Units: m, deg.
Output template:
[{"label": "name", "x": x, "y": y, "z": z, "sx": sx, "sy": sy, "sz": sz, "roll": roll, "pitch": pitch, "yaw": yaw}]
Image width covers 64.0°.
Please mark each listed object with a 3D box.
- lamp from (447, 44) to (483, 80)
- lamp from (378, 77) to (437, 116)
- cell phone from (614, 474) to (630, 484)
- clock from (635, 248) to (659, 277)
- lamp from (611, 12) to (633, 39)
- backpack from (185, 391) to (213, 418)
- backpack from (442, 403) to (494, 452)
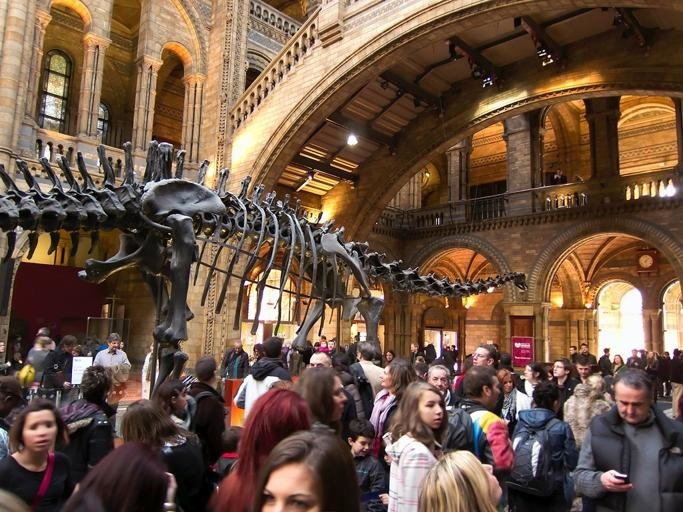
[{"label": "lamp", "x": 3.206, "y": -5.125, "z": 14.218, "sx": 1.322, "sy": 0.438, "sz": 0.305, "roll": 27, "pitch": -24, "yaw": -37}, {"label": "lamp", "x": 1.809, "y": -4.564, "z": 15.352, "sx": 2.391, "sy": 0.336, "sz": 0.358, "roll": 16, "pitch": 23, "yaw": -50}, {"label": "cell phone", "x": 1.914, "y": 1.518, "z": 3.715, "sx": 0.204, "sy": 0.067, "sz": 0.061, "roll": 17, "pitch": -19, "yaw": -42}, {"label": "clock", "x": 10.652, "y": 0.219, "z": 19.040, "sx": 0.862, "sy": 1.105, "sz": 0.601, "roll": -7, "pitch": -13, "yaw": 41}, {"label": "lamp", "x": 6.280, "y": -5.204, "z": 12.235, "sx": 0.290, "sy": 0.395, "sz": 0.995, "roll": -8, "pitch": -25, "yaw": 33}, {"label": "backpack", "x": -1.226, "y": 1.263, "z": 4.705, "sx": 0.208, "sy": 0.216, "sz": 0.154, "roll": -1, "pitch": -5, "yaw": -38}, {"label": "backpack", "x": 0.909, "y": 1.318, "z": 4.227, "sx": 0.411, "sy": 0.426, "sz": 0.305, "roll": 25, "pitch": -27, "yaw": -32}]
